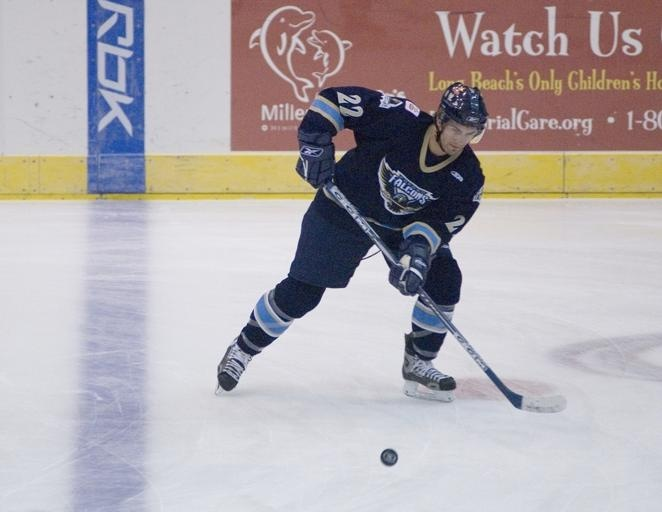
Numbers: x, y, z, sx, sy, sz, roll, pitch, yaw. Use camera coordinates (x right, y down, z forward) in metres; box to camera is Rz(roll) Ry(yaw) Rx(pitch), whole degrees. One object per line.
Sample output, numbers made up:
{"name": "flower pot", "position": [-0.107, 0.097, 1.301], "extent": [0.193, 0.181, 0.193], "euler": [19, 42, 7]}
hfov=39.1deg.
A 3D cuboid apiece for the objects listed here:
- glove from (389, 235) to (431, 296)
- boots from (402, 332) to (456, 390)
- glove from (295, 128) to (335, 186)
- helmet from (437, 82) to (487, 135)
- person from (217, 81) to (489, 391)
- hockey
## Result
{"name": "glove", "position": [0.300, 0.044, 3.438], "extent": [0.094, 0.132, 0.222], "euler": [1, 38, 29]}
{"name": "boots", "position": [0.365, 0.424, 3.573], "extent": [0.245, 0.179, 0.082], "euler": [14, 3, 39]}
{"name": "glove", "position": [-0.071, -0.374, 3.596], "extent": [0.179, 0.209, 0.121], "euler": [10, 25, 10]}
{"name": "helmet", "position": [0.495, -0.550, 3.439], "extent": [0.190, 0.188, 0.214], "euler": [-3, 24, -18]}
{"name": "person", "position": [0.101, -0.094, 3.634], "extent": [1.075, 1.218, 0.705], "euler": [11, 19, 3]}
{"name": "hockey", "position": [0.441, 0.203, 3.896], "extent": [1.298, 0.214, 0.117], "euler": [43, 53, 13]}
